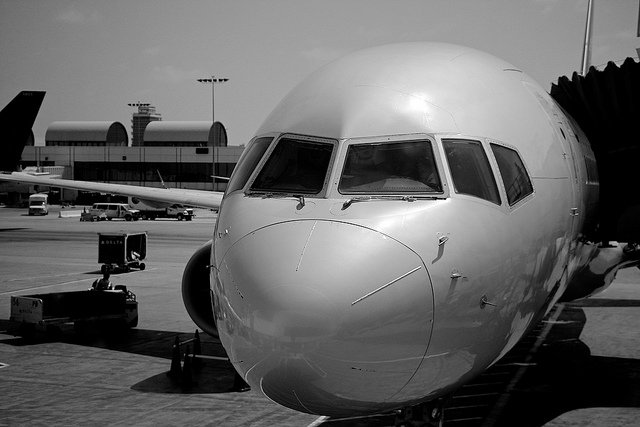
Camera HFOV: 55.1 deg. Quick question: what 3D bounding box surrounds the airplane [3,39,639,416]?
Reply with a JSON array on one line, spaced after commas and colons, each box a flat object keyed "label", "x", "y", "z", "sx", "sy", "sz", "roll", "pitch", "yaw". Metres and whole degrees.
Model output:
[{"label": "airplane", "x": 1.535, "y": -0.137, "z": 10.087, "sx": 6.642, "sy": 5.384, "sz": 2.830, "roll": -10, "pitch": 2, "yaw": -37}]

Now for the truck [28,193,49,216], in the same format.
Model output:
[{"label": "truck", "x": -36.810, "y": -1.039, "z": 80.312, "sx": 2.187, "sy": 2.521, "sz": 4.363, "roll": 0, "pitch": -5, "yaw": -10}]

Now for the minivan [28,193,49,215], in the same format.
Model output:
[{"label": "minivan", "x": -36.805, "y": -1.123, "z": 80.246, "sx": 2.216, "sy": 2.562, "sz": 4.245, "roll": 0, "pitch": -5, "yaw": -12}]

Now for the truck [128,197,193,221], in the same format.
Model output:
[{"label": "truck", "x": -15.476, "y": -0.271, "z": 58.934, "sx": 6.095, "sy": 3.151, "sz": 2.475, "roll": 0, "pitch": 4, "yaw": 13}]

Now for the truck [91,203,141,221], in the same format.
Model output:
[{"label": "truck", "x": -23.388, "y": -0.202, "z": 71.561, "sx": 3.960, "sy": 1.699, "sz": 2.537, "roll": 0, "pitch": 3, "yaw": 1}]

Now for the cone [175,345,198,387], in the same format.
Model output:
[{"label": "cone", "x": -3.181, "y": 3.595, "z": 14.317, "sx": 0.525, "sy": 0.988, "sz": 0.514, "roll": -9, "pitch": 1, "yaw": -8}]

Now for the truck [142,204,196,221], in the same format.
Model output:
[{"label": "truck", "x": -17.942, "y": -0.021, "z": 71.889, "sx": 4.695, "sy": 1.812, "sz": 1.809, "roll": 0, "pitch": 2, "yaw": 9}]

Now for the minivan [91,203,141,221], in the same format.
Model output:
[{"label": "minivan", "x": -23.456, "y": -0.183, "z": 71.601, "sx": 4.158, "sy": 1.772, "sz": 2.483, "roll": 0, "pitch": 3, "yaw": 1}]
